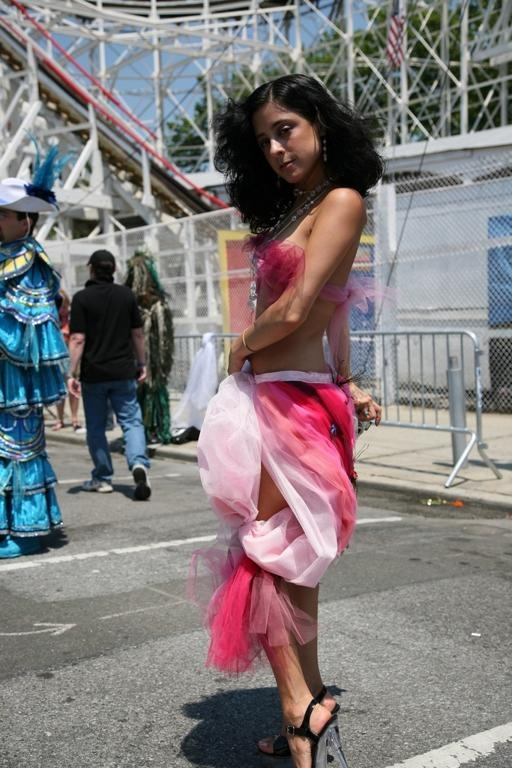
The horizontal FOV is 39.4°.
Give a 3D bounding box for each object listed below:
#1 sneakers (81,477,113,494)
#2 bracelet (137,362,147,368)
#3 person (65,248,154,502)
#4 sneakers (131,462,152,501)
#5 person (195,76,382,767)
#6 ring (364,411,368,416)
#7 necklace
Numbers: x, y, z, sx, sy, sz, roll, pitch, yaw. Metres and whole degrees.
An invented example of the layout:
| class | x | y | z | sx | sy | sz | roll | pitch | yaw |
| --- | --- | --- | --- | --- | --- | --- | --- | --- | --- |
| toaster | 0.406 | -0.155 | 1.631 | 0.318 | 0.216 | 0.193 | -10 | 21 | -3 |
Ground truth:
| class | x | y | z | sx | sy | sz | roll | pitch | yaw |
| --- | --- | --- | --- | --- | --- | --- | --- | --- | --- |
| sneakers | -1.336 | 0.865 | 6.079 | 0.292 | 0.121 | 0.100 | 9 | 18 | 23 |
| bracelet | -1.003 | -0.169 | 6.247 | 0.058 | 0.033 | 0.055 | 1 | -1 | 5 |
| person | -1.239 | -0.103 | 5.932 | 0.646 | 2.067 | 0.866 | -2 | 6 | -9 |
| sneakers | -0.912 | 0.776 | 5.731 | 0.138 | 0.299 | 0.145 | -5 | -4 | -4 |
| person | 0.088 | 0.073 | 1.818 | 0.469 | 1.688 | 0.634 | 0 | 6 | 9 |
| ring | 0.318 | 0.083 | 2.060 | 0.011 | 0.012 | 0.020 | -1 | 2 | 5 |
| necklace | 0.110 | -0.453 | 1.795 | 0.051 | 0.069 | 0.485 | -37 | 6 | 36 |
